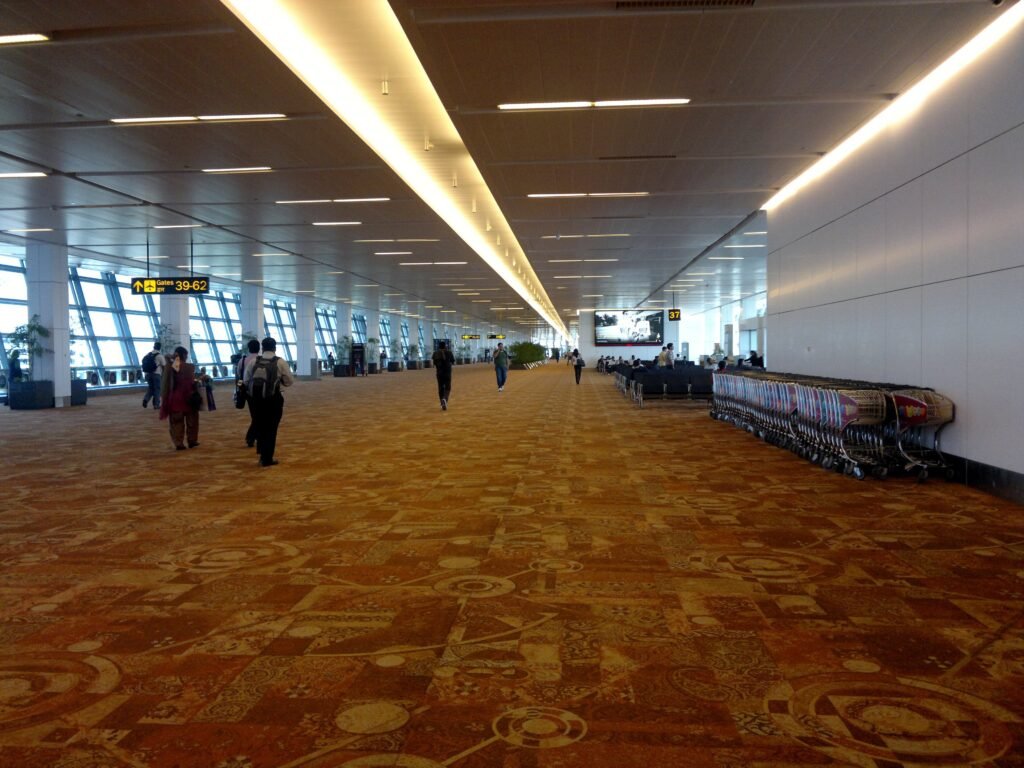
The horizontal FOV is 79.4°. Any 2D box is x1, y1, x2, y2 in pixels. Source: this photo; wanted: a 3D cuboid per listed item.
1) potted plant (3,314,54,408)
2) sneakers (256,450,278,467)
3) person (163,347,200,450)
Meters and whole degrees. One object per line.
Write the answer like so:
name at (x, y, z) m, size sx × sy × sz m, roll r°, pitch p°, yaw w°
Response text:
potted plant at (-13.743, -0.676, 17.629) m, size 1.039 × 2.611 × 1.783 m, roll -2°, pitch 3°, yaw -38°
sneakers at (-3.317, 1.003, 8.442) m, size 0.227 × 0.166 × 0.254 m, roll -1°, pitch 3°, yaw -18°
person at (-5.310, 0.205, 9.938) m, size 0.537 × 1.617 × 0.837 m, roll -2°, pitch 3°, yaw -27°
